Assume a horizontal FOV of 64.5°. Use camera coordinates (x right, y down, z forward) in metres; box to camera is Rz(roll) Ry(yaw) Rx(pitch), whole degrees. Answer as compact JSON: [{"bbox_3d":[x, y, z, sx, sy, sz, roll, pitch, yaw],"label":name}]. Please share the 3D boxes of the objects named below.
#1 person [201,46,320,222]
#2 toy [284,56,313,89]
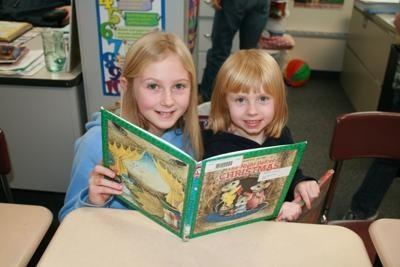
[{"bbox_3d":[0.274,0.054,1.558,0.602,0.850,0.538,-6,28,-1],"label":"person"},{"bbox_3d":[1.164,-0.690,3.842,0.302,0.310,0.311,-11,63,34],"label":"toy"}]
